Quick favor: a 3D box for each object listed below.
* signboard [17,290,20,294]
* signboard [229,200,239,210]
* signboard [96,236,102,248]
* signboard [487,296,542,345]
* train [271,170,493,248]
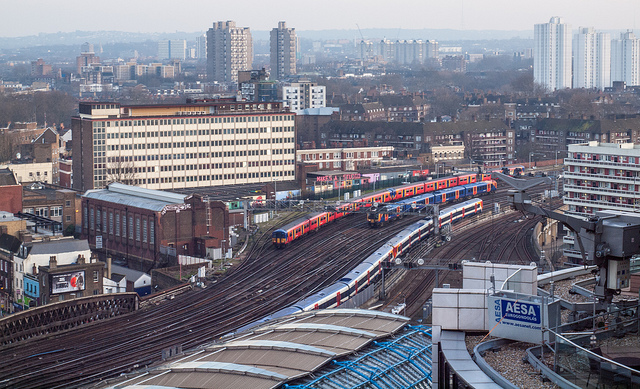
[{"bbox_3d":[-37.695,12.547,158.890,0.403,0.524,0.041,4,10,41],"label":"signboard"},{"bbox_3d":[-11.791,1.627,176.413,1.576,1.399,1.051,-1,0,-3],"label":"signboard"},{"bbox_3d":[-30.202,6.758,173.937,0.835,1.584,0.380,0,8,14],"label":"signboard"},{"bbox_3d":[18.029,11.840,115.226,4.622,3.227,1.528,2,3,20],"label":"signboard"},{"bbox_3d":[9.717,1.975,179.162,46.259,2.190,2.873,-13,35,-40],"label":"train"}]
